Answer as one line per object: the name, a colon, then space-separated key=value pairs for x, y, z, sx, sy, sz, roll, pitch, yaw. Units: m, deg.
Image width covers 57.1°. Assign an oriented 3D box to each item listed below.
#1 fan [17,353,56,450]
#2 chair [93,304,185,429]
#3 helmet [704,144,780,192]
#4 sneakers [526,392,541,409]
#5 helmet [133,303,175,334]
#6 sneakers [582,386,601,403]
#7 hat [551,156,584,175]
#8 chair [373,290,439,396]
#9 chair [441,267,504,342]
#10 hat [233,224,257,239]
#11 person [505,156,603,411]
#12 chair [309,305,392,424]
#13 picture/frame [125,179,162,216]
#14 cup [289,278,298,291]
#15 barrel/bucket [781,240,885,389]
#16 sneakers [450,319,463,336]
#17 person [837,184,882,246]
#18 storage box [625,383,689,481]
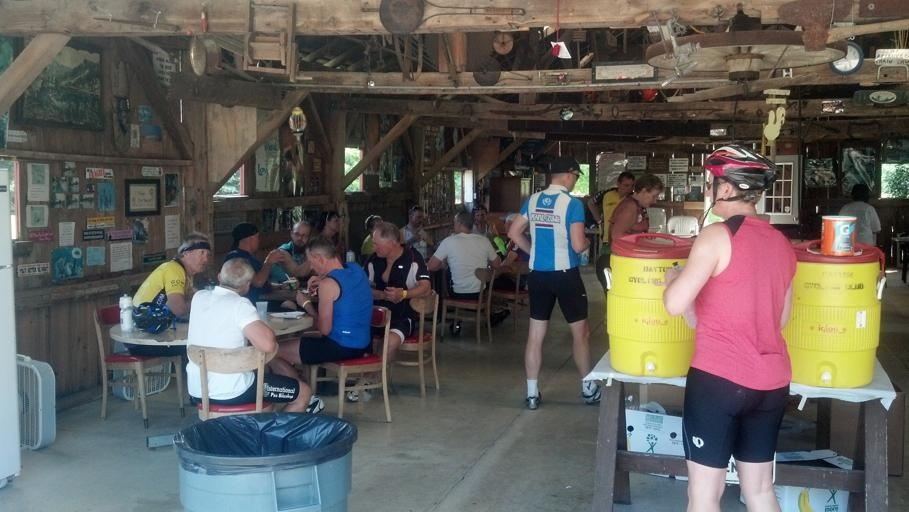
fan: x=-4.350 y=1.506 z=8.665 sx=0.373 sy=0.934 sz=0.318 roll=-4 pitch=14 yaw=-12
chair: x=-3.568 y=1.206 z=9.419 sx=0.900 sy=1.238 sz=0.970 roll=0 pitch=3 yaw=-11
helmet: x=2.286 y=-0.736 z=6.734 sx=0.475 sy=0.348 sz=0.637 roll=-17 pitch=23 yaw=-36
sneakers: x=0.900 y=1.659 z=9.512 sx=0.160 sy=0.137 sz=0.320 roll=-2 pitch=-5 yaw=9
helmet: x=-3.197 y=0.678 z=8.847 sx=0.352 sy=0.335 sz=0.259 roll=15 pitch=3 yaw=-39
sneakers: x=1.588 y=1.596 z=9.617 sx=0.120 sy=0.148 sz=0.330 roll=4 pitch=16 yaw=29
hat: x=1.254 y=-1.003 z=9.290 sx=0.259 sy=0.135 sz=0.185 roll=-5 pitch=11 yaw=-31
chair: x=-0.591 y=1.073 z=10.152 sx=0.816 sy=1.144 sz=0.831 roll=-6 pitch=-5 yaw=38
chair: x=0.213 y=0.624 z=12.159 sx=0.814 sy=1.171 sz=0.833 roll=6 pitch=8 yaw=35
hat: x=-2.599 y=-0.297 z=10.332 sx=0.246 sy=0.191 sz=0.178 roll=-24 pitch=22 yaw=-26
person: x=1.096 y=0.315 z=9.411 sx=0.866 sy=2.812 sz=0.854 roll=0 pitch=14 yaw=5
chair: x=-1.094 y=1.252 z=9.427 sx=0.757 sy=1.169 sz=0.764 roll=1 pitch=-6 yaw=-30
picture/frame: x=-3.895 y=-0.728 z=10.348 sx=0.033 sy=0.475 sz=0.476 roll=3 pitch=3 yaw=34
cup: x=-2.037 y=0.361 z=10.583 sx=0.121 sy=0.123 sz=0.170 roll=4 pitch=-16 yaw=-3
barrel/bucket: x=3.244 y=0.504 z=7.209 sx=0.850 sy=1.179 sz=0.815 roll=-1 pitch=6 yaw=0
sneakers: x=0.024 y=1.079 z=12.475 sx=0.220 sy=0.250 sz=0.629 roll=0 pitch=-1 yaw=2
person: x=6.965 y=-0.671 z=14.285 sx=0.585 sy=1.082 sz=1.115 roll=6 pitch=16 yaw=24
storage box: x=1.901 y=1.613 z=7.973 sx=0.815 sy=0.840 sz=0.582 roll=3 pitch=4 yaw=10
